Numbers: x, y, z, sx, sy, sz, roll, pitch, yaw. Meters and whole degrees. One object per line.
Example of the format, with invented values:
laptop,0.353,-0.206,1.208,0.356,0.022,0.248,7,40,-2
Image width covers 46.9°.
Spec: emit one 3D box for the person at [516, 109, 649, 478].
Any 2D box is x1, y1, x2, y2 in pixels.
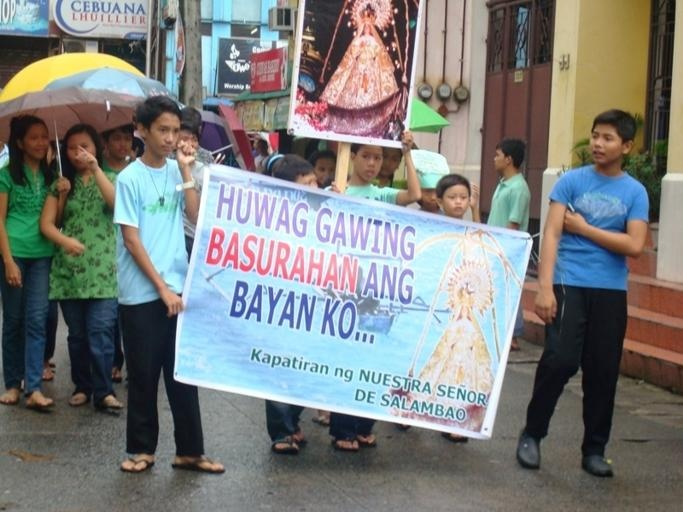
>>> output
person,1.731,0.230,5.616,0.816,2.531,0.598,3,7,16
